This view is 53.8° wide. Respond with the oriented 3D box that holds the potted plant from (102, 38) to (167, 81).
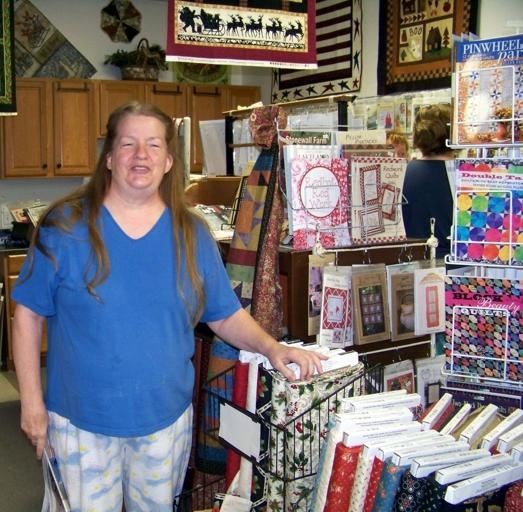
[{"bbox_3d":[-1.481,-2.203,6.025,0.674,0.495,0.694,-5,10,-28],"label":"potted plant"}]
